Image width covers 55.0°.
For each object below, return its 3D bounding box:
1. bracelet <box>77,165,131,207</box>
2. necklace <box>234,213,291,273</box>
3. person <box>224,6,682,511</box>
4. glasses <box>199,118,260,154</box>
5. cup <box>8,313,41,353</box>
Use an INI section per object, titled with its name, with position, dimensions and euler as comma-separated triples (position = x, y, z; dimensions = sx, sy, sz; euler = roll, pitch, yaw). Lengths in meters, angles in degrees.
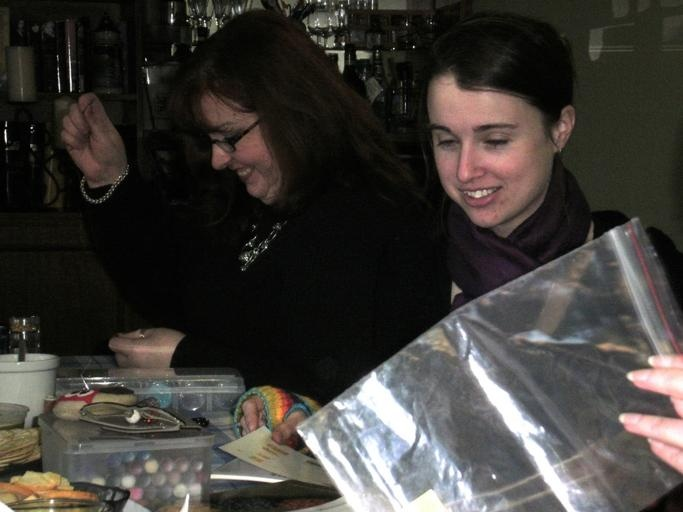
[bracelet]
position = -0.633, -0.194, 1.742
dimensions = 0.094, 0.118, 0.032
euler = 6, -23, 21
[necklace]
position = -0.200, -0.035, 1.684
dimensions = 0.045, 0.117, 0.186
euler = 43, 1, -12
[person]
position = 0.163, -0.062, 2.197
dimensions = 0.775, 1.901, 1.164
euler = 2, -2, -8
[glasses]
position = -0.260, -0.272, 1.540
dimensions = 0.091, 0.027, 0.087
euler = -40, 21, -26
[cup]
position = -0.710, 0.190, 1.481
dimensions = 0.067, 0.087, 0.171
euler = -6, 10, -27
